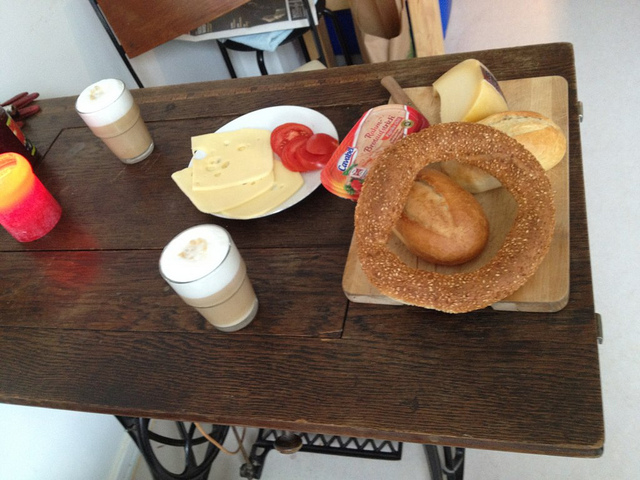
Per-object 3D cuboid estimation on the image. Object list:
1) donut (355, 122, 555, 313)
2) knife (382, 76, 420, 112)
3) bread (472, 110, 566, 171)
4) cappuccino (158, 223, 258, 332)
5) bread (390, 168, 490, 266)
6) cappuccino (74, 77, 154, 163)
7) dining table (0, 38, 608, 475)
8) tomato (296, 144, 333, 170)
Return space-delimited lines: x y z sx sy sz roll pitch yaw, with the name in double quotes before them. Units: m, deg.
"donut" 0.180 -0.057 0.866 0.127 0.287 0.307 -17 31 42
"knife" 0.165 -0.313 1.100 0.036 0.016 0.139 -25 39 -3
"bread" 0.351 -0.163 0.894 0.168 0.040 0.106 4 41 -15
"cappuccino" -0.180 0.070 0.885 0.123 0.194 0.096 -25 43 -7
"bread" 0.192 -0.028 0.878 0.136 0.057 0.176 -36 69 -1
"cappuccino" -0.479 -0.263 1.214 0.130 0.167 0.123 15 55 24
"dining table" 0.046 0.009 1.672 1.993 0.865 0.915 1 78 7
"tomato" -0.017 -0.167 1.035 0.070 0.043 0.040 12 49 28
